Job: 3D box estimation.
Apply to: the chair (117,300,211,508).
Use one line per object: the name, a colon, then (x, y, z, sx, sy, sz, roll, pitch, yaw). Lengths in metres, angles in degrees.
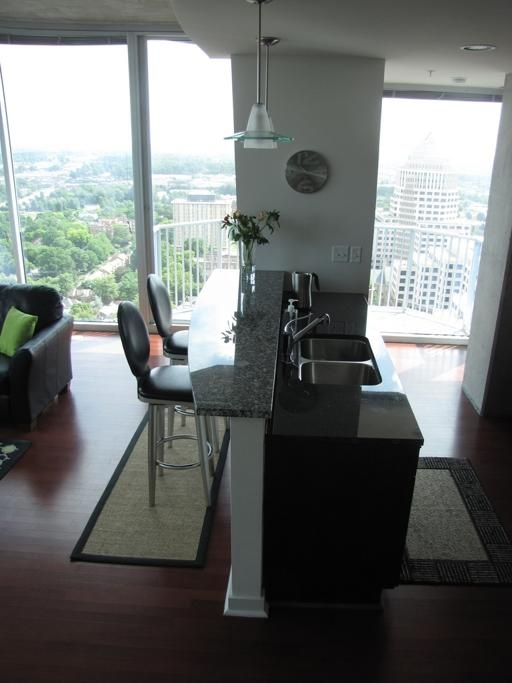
chair: (-0.450, 0.332, 2.641, 0.446, 1.059, 0.841, -1, 21, -6)

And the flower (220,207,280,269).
flower: (-0.030, -0.709, 3.608, 0.360, 0.388, 0.451, 3, 21, 4)

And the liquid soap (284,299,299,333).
liquid soap: (0.190, -0.110, 2.851, 0.073, 0.098, 0.251, 1, 48, 3)

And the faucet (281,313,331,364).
faucet: (0.260, -0.007, 2.690, 0.232, 0.292, 0.085, 8, 39, 15)
